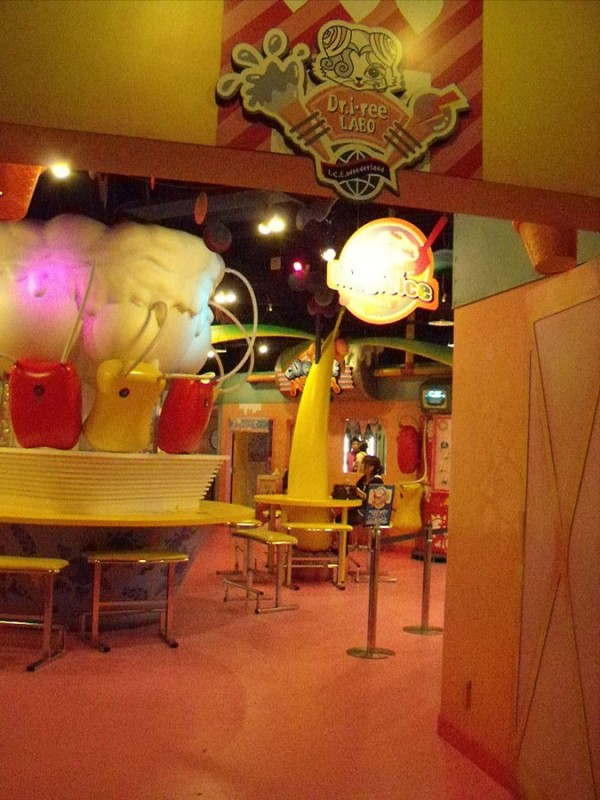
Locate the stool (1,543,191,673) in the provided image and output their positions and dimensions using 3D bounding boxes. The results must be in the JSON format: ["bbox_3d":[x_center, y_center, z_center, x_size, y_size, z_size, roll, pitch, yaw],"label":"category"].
[{"bbox_3d":[-1.413,1.350,4.659,1.299,0.524,0.834,1,2,-9],"label":"stool"}]
